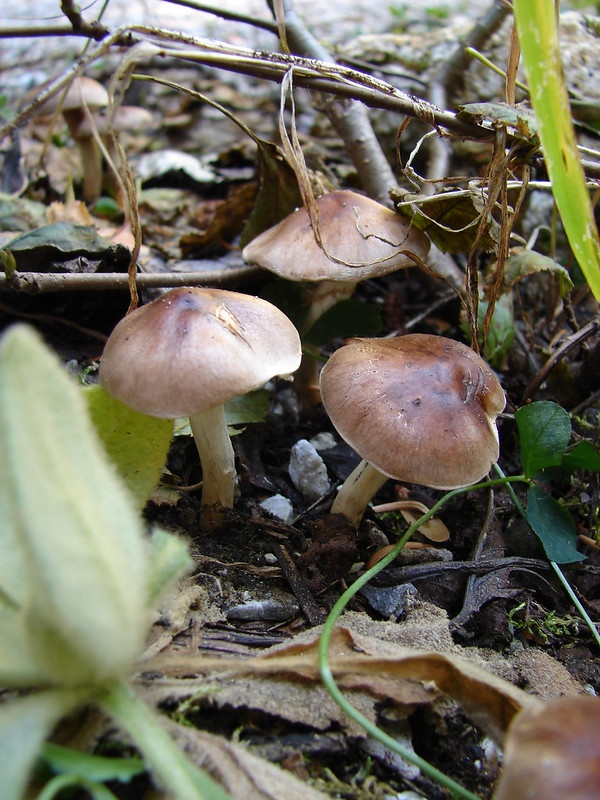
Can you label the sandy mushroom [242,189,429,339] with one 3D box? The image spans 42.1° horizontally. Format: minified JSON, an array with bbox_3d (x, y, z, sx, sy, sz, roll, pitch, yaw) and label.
[{"bbox_3d":[0.098,-0.368,1.737,0.409,0.226,0.267,-10,44,-17],"label":"sandy mushroom"}]
